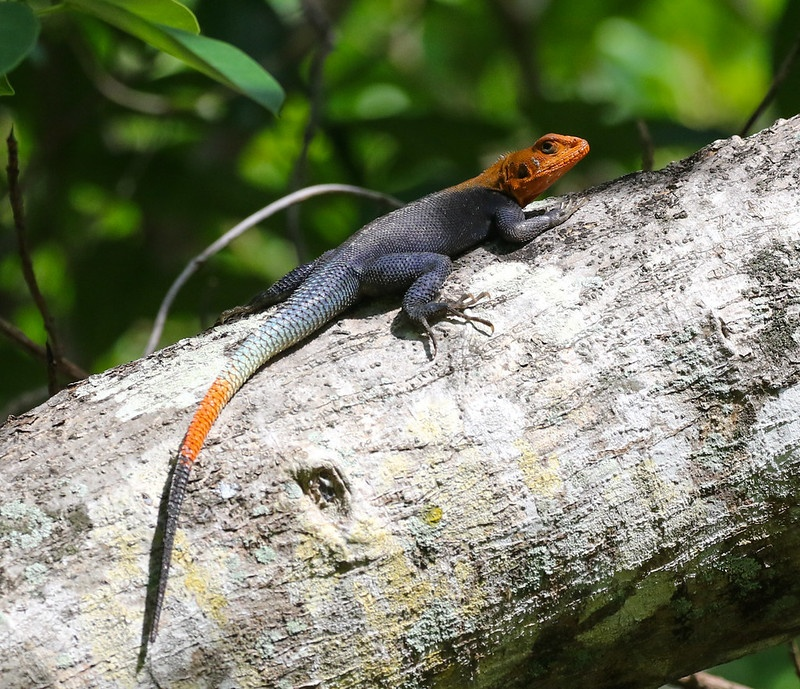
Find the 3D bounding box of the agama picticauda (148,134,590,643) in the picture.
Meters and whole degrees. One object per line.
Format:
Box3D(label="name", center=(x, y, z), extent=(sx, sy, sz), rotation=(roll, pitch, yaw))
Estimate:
Box3D(label="agama picticauda", center=(-0.170, -0.118, 3.334), extent=(1.780, 0.253, 0.671), rotation=(-40, 57, -5))
